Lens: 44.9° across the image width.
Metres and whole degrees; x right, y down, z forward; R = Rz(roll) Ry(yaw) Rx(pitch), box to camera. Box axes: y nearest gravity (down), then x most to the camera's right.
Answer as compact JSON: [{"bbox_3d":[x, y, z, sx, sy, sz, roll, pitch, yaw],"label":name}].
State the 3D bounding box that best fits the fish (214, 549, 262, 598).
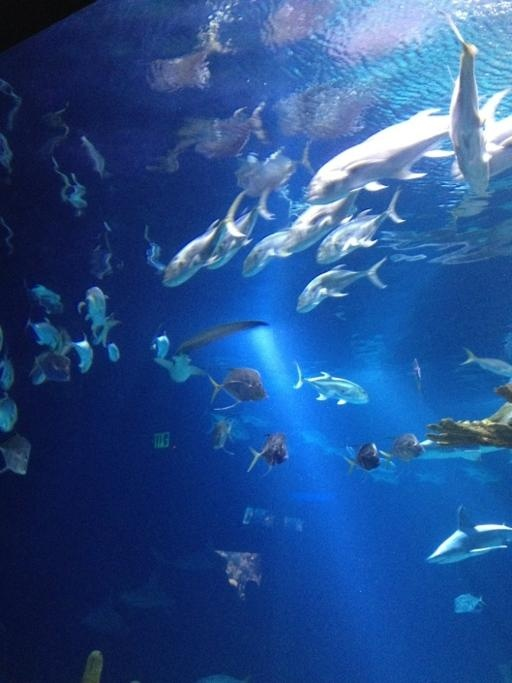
[{"bbox_3d":[-0.227,4.086,10.875,0.024,0.695,2.042,-11,-24,17],"label":"fish"}]
